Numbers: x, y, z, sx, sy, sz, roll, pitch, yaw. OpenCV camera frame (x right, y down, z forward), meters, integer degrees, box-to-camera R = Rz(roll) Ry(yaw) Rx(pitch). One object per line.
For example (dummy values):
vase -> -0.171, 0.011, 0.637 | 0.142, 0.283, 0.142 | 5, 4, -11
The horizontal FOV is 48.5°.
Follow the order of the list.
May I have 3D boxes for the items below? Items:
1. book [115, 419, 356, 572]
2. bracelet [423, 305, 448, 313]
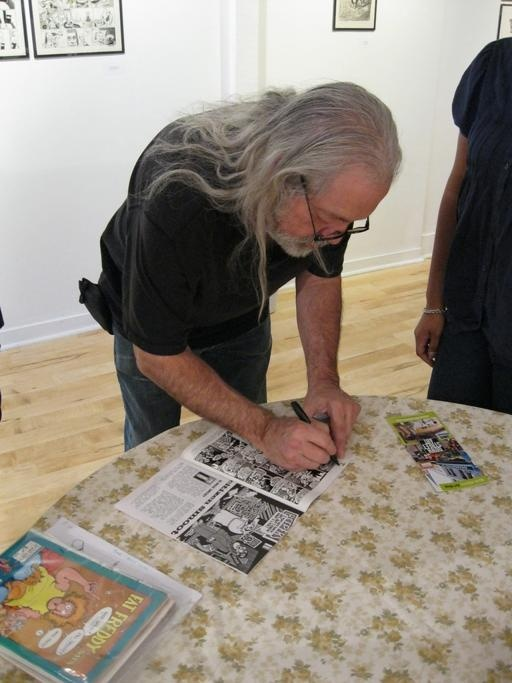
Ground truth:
book -> -0.040, 0.295, 1.180 | 0.325, 0.022, 0.402 | 15, 26, 26
bracelet -> 0.603, -0.109, 1.893 | 0.035, 0.010, 0.033 | -6, 21, -16
